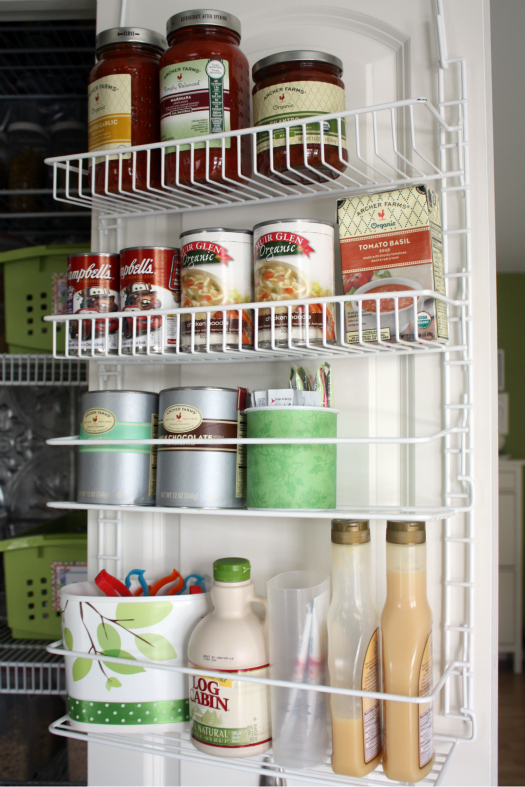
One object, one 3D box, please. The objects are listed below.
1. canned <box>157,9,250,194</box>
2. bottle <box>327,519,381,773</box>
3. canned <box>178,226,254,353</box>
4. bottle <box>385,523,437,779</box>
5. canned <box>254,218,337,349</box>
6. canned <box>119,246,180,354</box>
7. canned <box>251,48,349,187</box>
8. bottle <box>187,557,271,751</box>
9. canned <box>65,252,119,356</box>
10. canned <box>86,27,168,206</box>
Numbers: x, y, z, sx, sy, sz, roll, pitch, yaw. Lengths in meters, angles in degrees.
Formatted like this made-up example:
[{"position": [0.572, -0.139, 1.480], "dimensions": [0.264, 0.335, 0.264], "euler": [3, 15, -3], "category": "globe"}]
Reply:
[{"position": [-0.063, -0.353, 0.895], "dimensions": [0.112, 0.231, 0.104], "euler": [1, -5, -19], "category": "canned"}, {"position": [0.098, 0.264, 0.831], "dimensions": [0.054, 0.256, 0.138], "euler": [-1, -5, 4], "category": "bottle"}, {"position": [-0.052, -0.118, 0.863], "dimensions": [0.084, 0.141, 0.079], "euler": [0, -5, -6], "category": "canned"}, {"position": [0.165, 0.262, 0.815], "dimensions": [0.048, 0.257, 0.135], "euler": [-3, -5, 26], "category": "bottle"}, {"position": [0.033, -0.121, 0.838], "dimensions": [0.091, 0.143, 0.076], "euler": [-1, -5, 4], "category": "canned"}, {"position": [-0.133, -0.111, 0.895], "dimensions": [0.070, 0.131, 0.059], "euler": [0, -5, -10], "category": "canned"}, {"position": [0.040, -0.292, 0.856], "dimensions": [0.132, 0.144, 0.131], "euler": [-2, -7, -1], "category": "canned"}, {"position": [-0.044, 0.288, 0.849], "dimensions": [0.076, 0.201, 0.104], "euler": [3, -6, -41], "category": "bottle"}, {"position": [-0.205, -0.109, 0.916], "dimensions": [0.061, 0.128, 0.068], "euler": [0, -5, -13], "category": "canned"}, {"position": [-0.169, -0.343, 0.921], "dimensions": [0.094, 0.201, 0.070], "euler": [-1, -5, 6], "category": "canned"}]
